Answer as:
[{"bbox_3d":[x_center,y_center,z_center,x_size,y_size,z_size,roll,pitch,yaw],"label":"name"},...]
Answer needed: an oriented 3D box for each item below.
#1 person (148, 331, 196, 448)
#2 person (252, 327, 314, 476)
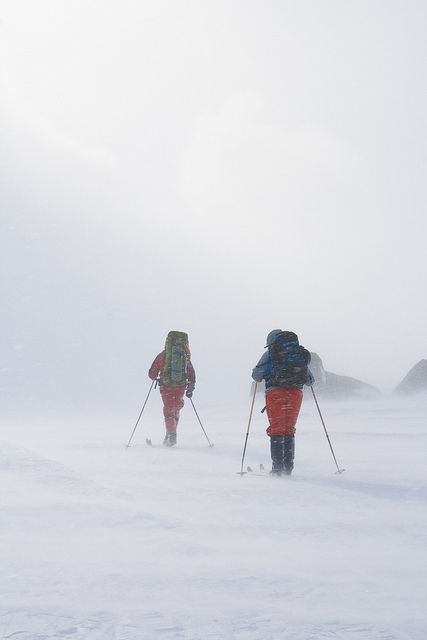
[{"bbox_3d":[-0.668,1.077,10.802,0.713,1.818,0.572,7,-14,-6],"label":"person"},{"bbox_3d":[0.695,0.832,7.086,0.619,1.529,0.461,3,-14,11],"label":"person"}]
